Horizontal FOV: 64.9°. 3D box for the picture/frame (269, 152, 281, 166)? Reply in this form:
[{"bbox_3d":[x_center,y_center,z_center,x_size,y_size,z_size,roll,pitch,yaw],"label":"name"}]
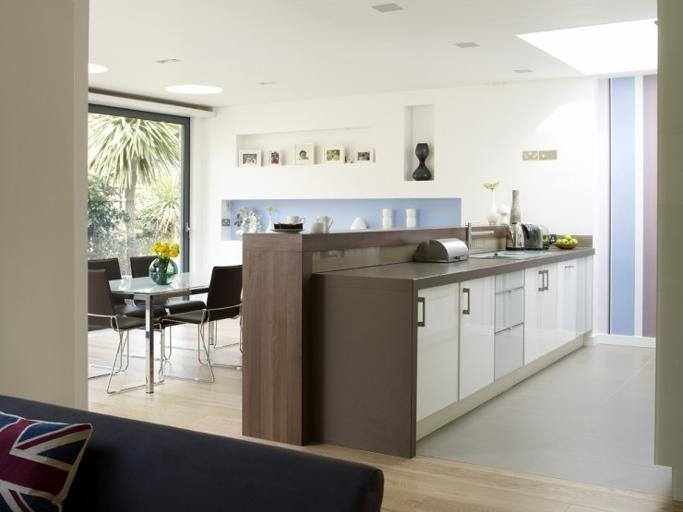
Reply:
[{"bbox_3d":[-1.050,-1.527,8.451,0.211,0.269,0.024,4,7,27],"label":"picture/frame"}]

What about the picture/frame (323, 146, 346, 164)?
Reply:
[{"bbox_3d":[-0.138,-1.510,8.008,0.373,0.278,0.114,1,3,26],"label":"picture/frame"}]

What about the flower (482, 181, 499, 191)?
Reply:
[{"bbox_3d":[1.867,-0.869,6.689,0.159,0.109,0.159,-3,3,-30],"label":"flower"}]

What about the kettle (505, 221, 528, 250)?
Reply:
[{"bbox_3d":[1.981,-0.221,6.164,0.222,0.299,0.193,1,4,32],"label":"kettle"}]

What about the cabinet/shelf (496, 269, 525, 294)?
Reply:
[{"bbox_3d":[1.440,0.220,4.584,0.162,0.228,0.302,-1,-1,45],"label":"cabinet/shelf"}]

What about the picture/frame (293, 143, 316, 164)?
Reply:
[{"bbox_3d":[-0.567,-1.570,8.224,0.319,0.309,0.043,1,2,36],"label":"picture/frame"}]

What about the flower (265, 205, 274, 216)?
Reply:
[{"bbox_3d":[-1.174,-0.719,8.606,0.114,0.191,0.122,3,6,11],"label":"flower"}]

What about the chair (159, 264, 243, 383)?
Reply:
[{"bbox_3d":[-1.290,0.567,5.208,0.591,0.832,0.619,3,-12,-16],"label":"chair"}]

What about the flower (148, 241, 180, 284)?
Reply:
[{"bbox_3d":[-1.839,0.087,5.501,0.280,0.445,0.287,4,2,24],"label":"flower"}]

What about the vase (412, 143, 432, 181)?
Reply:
[{"bbox_3d":[1.105,-1.284,7.402,0.257,0.525,0.265,0,3,12],"label":"vase"}]

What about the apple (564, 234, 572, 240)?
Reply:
[{"bbox_3d":[2.683,-0.206,6.371,0.083,0.072,0.111,3,4,12],"label":"apple"}]

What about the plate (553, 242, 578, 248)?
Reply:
[{"bbox_3d":[2.609,-0.114,6.265,0.213,0.064,0.143,0,3,18],"label":"plate"}]

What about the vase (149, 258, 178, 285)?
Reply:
[{"bbox_3d":[-1.834,0.164,5.522,0.243,0.264,0.258,1,-1,-5],"label":"vase"}]
